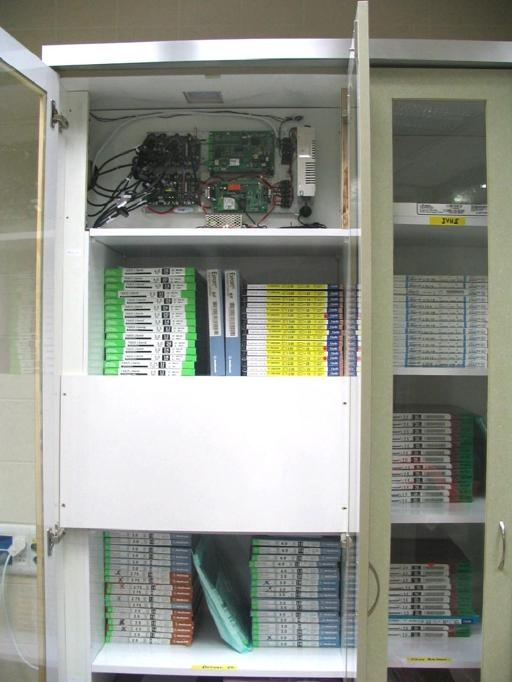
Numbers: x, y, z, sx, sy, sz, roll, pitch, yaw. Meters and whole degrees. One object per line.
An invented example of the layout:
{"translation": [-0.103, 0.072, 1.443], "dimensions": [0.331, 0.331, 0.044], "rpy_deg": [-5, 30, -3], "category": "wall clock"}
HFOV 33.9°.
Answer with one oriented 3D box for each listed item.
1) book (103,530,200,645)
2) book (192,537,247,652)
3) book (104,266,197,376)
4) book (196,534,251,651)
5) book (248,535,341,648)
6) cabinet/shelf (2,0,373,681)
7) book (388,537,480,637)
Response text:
{"translation": [-0.310, 0.714, 2.610], "dimensions": [0.277, 0.410, 0.396], "rpy_deg": [-1, -3, -2], "category": "book"}
{"translation": [-0.097, 0.727, 2.422], "dimensions": [0.056, 0.257, 0.245], "rpy_deg": [-16, 0, -4], "category": "book"}
{"translation": [-0.306, -0.055, 2.537], "dimensions": [0.251, 0.371, 0.350], "rpy_deg": [0, 1, -1], "category": "book"}
{"translation": [-0.094, 0.723, 2.422], "dimensions": [0.057, 0.260, 0.241], "rpy_deg": [-18, 9, -2], "category": "book"}
{"translation": [0.101, 0.700, 2.515], "dimensions": [0.341, 0.367, 0.273], "rpy_deg": [1, -25, -1], "category": "book"}
{"translation": [-0.126, 0.091, 2.271], "dimensions": [0.883, 1.697, 0.795], "rpy_deg": [0, -2, 8], "category": "cabinet/shelf"}
{"translation": [0.433, 0.622, 2.126], "dimensions": [0.231, 0.254, 0.229], "rpy_deg": [0, -3, 4], "category": "book"}
